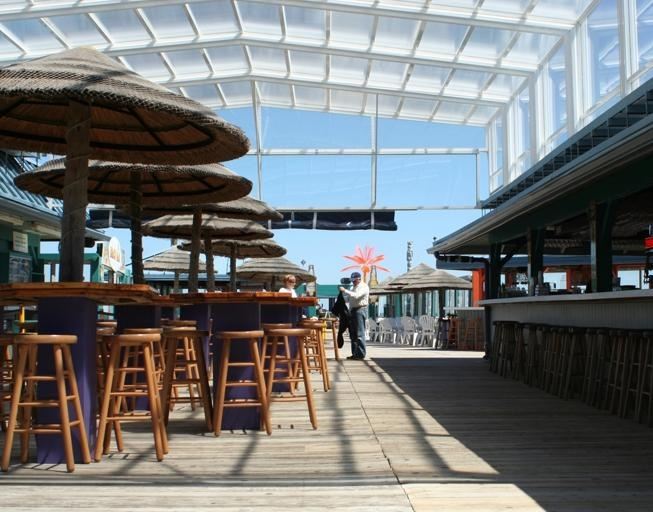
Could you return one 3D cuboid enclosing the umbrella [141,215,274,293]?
[{"bbox_3d":[-1.771,-0.081,10.513,1.323,0.741,1.250,1,-5,19],"label":"umbrella"}]

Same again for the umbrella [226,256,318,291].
[{"bbox_3d":[-1.103,0.353,16.279,1.361,0.582,1.355,-1,0,-28],"label":"umbrella"}]

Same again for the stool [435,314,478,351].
[{"bbox_3d":[3.278,1.899,18.133,0.974,0.550,0.878,0,4,1],"label":"stool"}]

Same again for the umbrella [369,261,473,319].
[{"bbox_3d":[2.689,1.264,23.255,3.484,1.467,3.480,0,-2,19],"label":"umbrella"}]

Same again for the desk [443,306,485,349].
[{"bbox_3d":[3.482,1.808,18.092,1.229,0.815,1.155,1,-7,4],"label":"desk"}]

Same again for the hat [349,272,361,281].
[{"bbox_3d":[0.519,0.369,12.626,0.127,0.117,0.160,2,-12,-39],"label":"hat"}]

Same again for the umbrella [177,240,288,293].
[{"bbox_3d":[-1.510,0.102,13.860,1.286,0.722,1.207,2,-6,1],"label":"umbrella"}]
